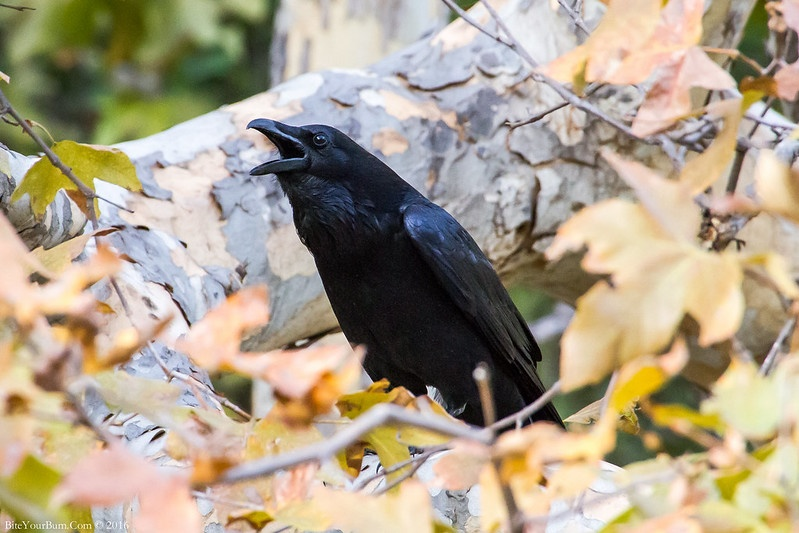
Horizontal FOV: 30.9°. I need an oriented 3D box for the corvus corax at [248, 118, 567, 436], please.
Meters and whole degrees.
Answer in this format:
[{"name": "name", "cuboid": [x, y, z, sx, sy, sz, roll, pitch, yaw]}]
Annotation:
[{"name": "corvus corax", "cuboid": [0.055, 0.099, 3.759, 1.064, 0.821, 0.479, 11, -19, -39]}]
